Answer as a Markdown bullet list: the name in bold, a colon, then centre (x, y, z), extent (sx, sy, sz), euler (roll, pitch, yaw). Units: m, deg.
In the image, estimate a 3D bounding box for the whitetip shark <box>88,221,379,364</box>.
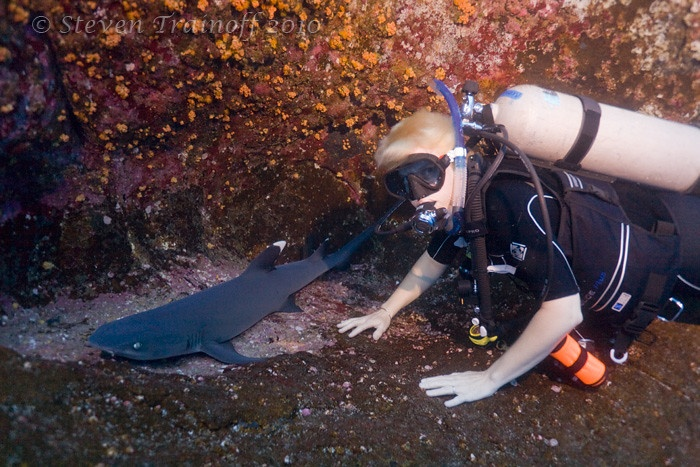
- **whitetip shark**: centre (-0.961, 0.605, 5.867), extent (0.709, 0.603, 2.367), euler (36, 38, 30)
